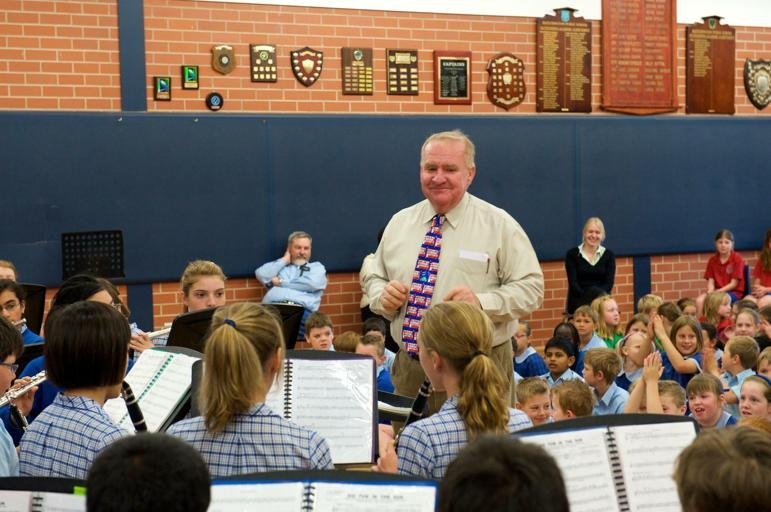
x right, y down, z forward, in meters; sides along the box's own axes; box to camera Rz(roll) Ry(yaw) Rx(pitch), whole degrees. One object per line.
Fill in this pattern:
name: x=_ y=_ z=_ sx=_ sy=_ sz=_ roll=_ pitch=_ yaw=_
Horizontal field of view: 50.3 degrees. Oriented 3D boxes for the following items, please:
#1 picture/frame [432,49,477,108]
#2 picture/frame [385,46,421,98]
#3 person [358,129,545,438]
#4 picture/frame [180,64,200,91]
picture/frame: x=0.716 y=-1.961 z=8.973 sx=0.610 sy=0.780 sz=0.076 roll=-2 pitch=8 yaw=-11
picture/frame: x=0.156 y=-1.988 z=8.828 sx=0.542 sy=0.672 sz=0.067 roll=-1 pitch=3 yaw=-21
person: x=0.390 y=0.056 z=4.933 sx=1.064 sy=1.619 sz=0.480 roll=0 pitch=2 yaw=6
picture/frame: x=-1.983 y=-1.815 z=8.299 sx=0.255 sy=0.347 sz=0.035 roll=-1 pitch=5 yaw=-19
